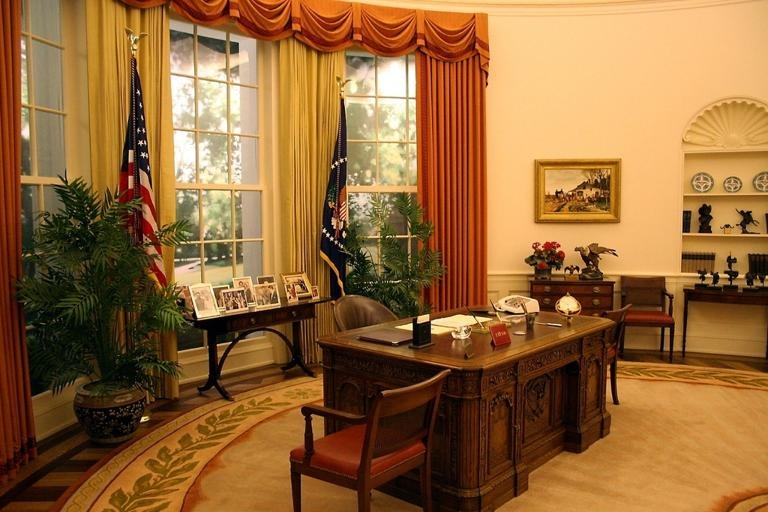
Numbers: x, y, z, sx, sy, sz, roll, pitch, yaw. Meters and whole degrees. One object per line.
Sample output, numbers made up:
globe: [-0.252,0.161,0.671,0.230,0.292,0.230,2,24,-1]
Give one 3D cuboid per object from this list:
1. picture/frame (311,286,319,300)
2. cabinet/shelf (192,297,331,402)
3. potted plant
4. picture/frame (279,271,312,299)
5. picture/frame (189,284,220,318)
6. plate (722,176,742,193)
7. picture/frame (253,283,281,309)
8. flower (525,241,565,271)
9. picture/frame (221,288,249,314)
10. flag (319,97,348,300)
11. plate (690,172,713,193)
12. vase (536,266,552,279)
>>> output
picture/frame: [-0.863,0.458,7.174,0.018,0.172,0.142,-15,-15,33]
cabinet/shelf: [-1.484,1.050,6.832,0.660,0.928,1.917,1,3,36]
potted plant: [-2.706,0.576,5.624,1.610,2.459,1.239,0,13,-21]
picture/frame: [-1.088,0.358,7.072,0.025,0.352,0.354,-34,-23,35]
picture/frame: [-1.975,0.482,6.295,0.202,0.368,0.277,-9,-2,44]
plate: [4.896,-1.010,8.063,0.265,0.232,0.105,0,8,8]
picture/frame: [-1.367,0.460,6.691,0.026,0.260,0.290,-24,-17,34]
flower: [2.259,0.003,8.020,0.445,0.328,0.450,0,1,-6]
picture/frame: [-1.686,0.509,6.468,0.019,0.271,0.271,-27,-22,37]
flag: [-0.601,-0.774,7.373,0.289,2.568,0.526,4,9,36]
plate: [4.480,-1.036,8.130,0.274,0.287,0.101,5,-3,13]
vase: [2.233,0.227,8.096,0.164,0.117,0.167,0,1,-1]
